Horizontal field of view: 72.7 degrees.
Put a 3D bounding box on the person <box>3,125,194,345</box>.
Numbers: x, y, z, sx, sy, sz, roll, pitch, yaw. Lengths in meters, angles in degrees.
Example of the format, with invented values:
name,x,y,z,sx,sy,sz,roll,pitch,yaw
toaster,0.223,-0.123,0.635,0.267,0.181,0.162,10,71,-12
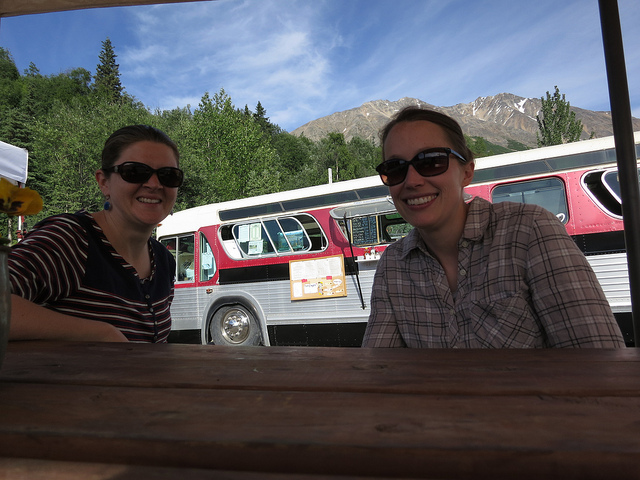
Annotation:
name,x,y,z,sx,sy,sz,roll,pitch,yaw
person,-1.098,-0.040,2.224,0.483,0.881,1.095,-2,2,5

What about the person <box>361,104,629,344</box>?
name,x,y,z,sx,sy,sz,roll,pitch,yaw
person,0.755,-0.099,2.067,1.074,1.207,0.428,-1,2,32

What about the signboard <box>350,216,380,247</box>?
name,x,y,z,sx,sy,sz,roll,pitch,yaw
signboard,0.793,-0.168,7.729,0.531,0.516,0.031,-8,8,-21

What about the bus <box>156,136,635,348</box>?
name,x,y,z,sx,sy,sz,roll,pitch,yaw
bus,0.502,0.295,7.902,8.161,3.542,0.627,-1,2,22

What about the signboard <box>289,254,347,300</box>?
name,x,y,z,sx,sy,sz,roll,pitch,yaw
signboard,-0.064,0.722,8.092,1.105,0.788,0.047,-8,-11,20
